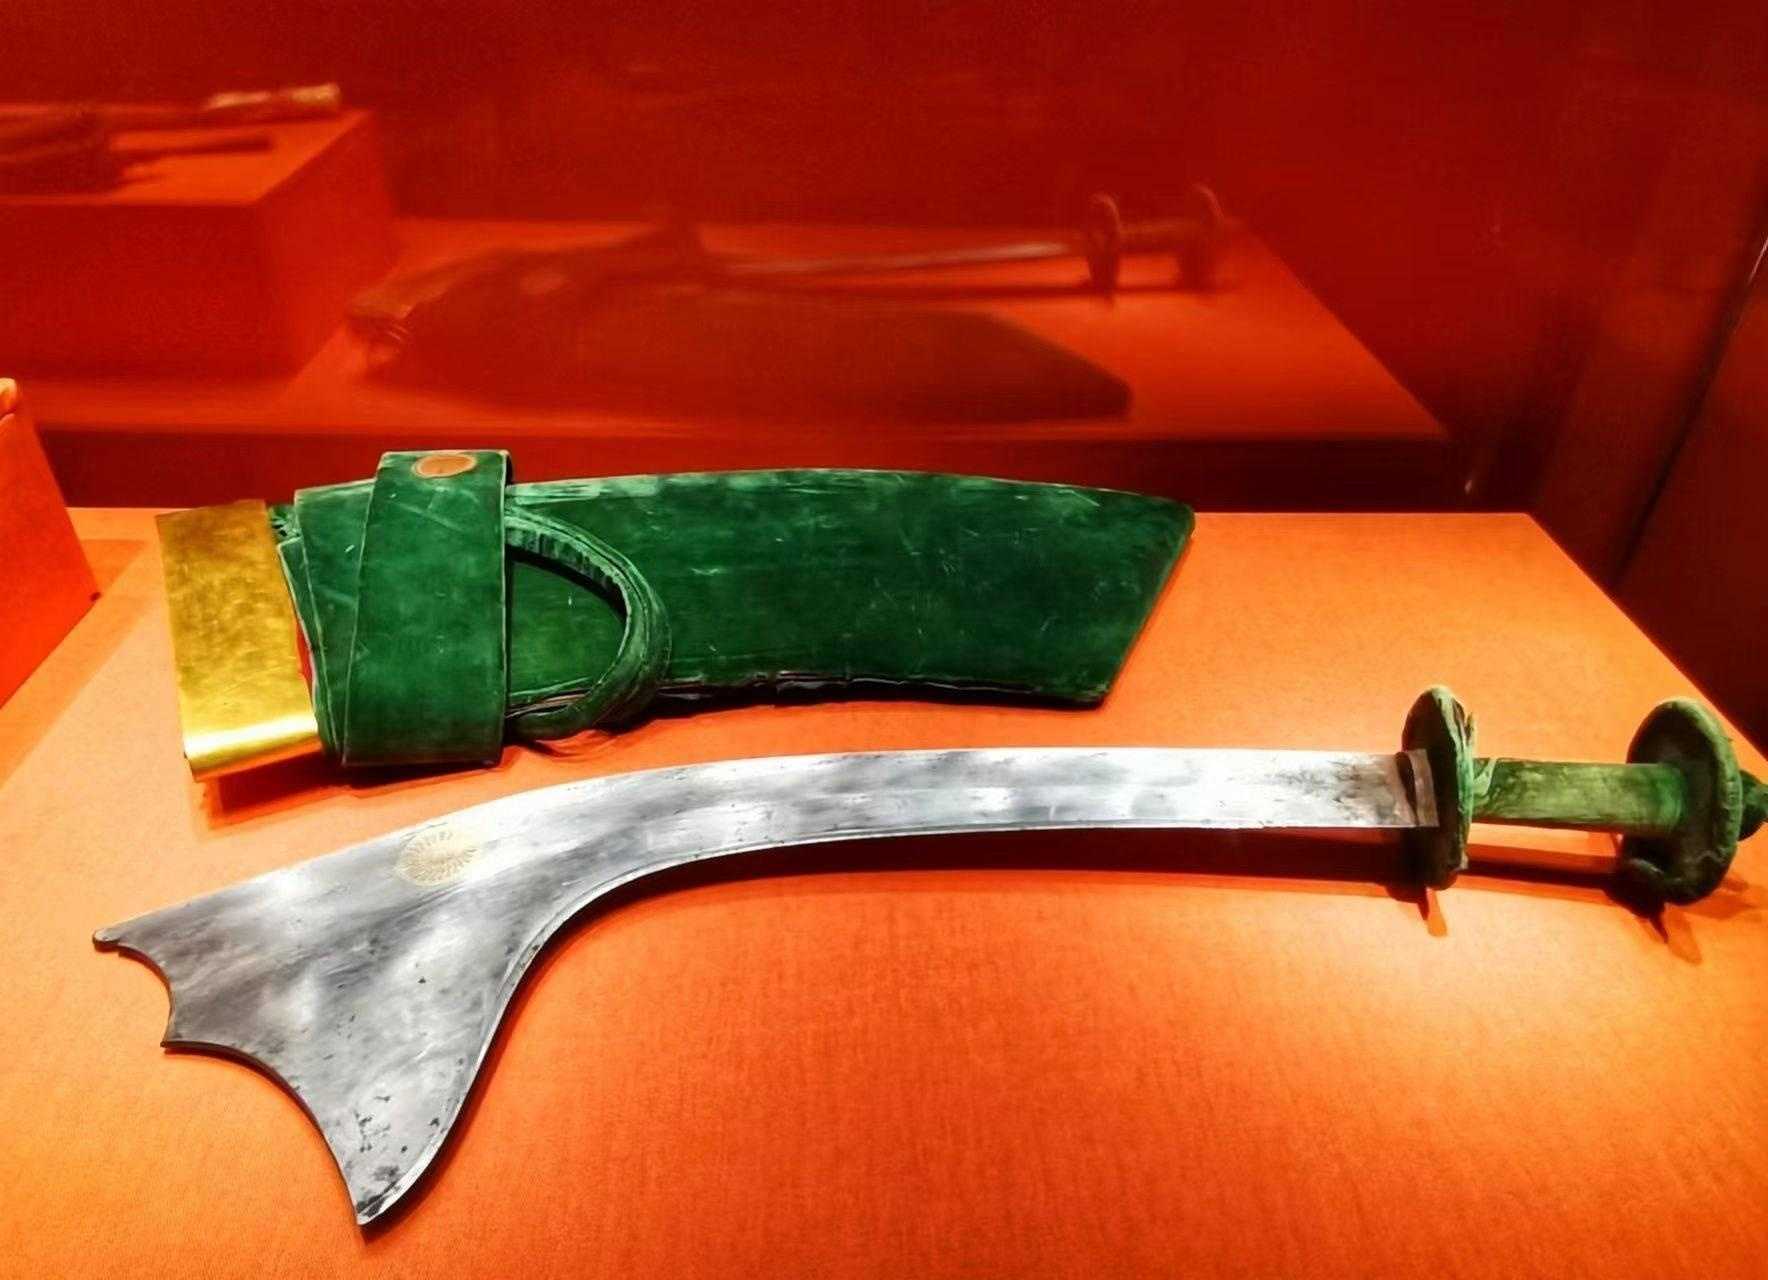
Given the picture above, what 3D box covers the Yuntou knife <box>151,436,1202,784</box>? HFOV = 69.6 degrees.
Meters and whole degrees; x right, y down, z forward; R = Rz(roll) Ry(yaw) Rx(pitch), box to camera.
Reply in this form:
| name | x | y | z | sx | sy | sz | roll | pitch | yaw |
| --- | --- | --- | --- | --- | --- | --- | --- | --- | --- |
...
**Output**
| name | x | y | z | sx | sy | sz | roll | pitch | yaw |
| --- | --- | --- | --- | --- | --- | --- | --- | --- | --- |
| Yuntou knife | -0.165 | 0.004 | 1.120 | 0.995 | 0.128 | 0.311 | 1 | 43 | -9 |
